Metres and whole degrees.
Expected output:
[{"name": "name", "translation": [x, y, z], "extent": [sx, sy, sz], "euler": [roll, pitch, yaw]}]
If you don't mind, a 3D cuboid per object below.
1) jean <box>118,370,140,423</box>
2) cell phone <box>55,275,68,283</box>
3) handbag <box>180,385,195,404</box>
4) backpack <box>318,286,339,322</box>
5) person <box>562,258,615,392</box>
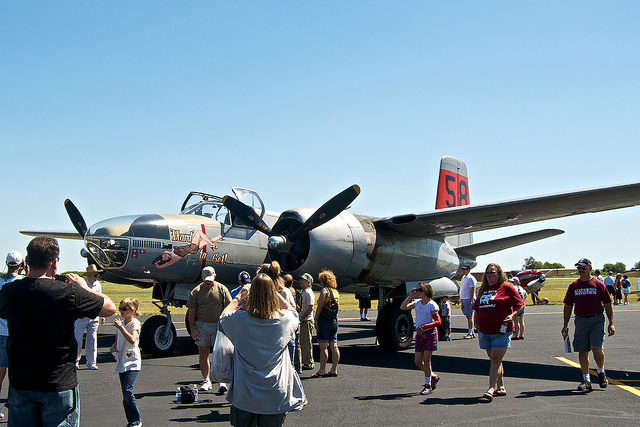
[{"name": "jean", "translation": [-2.830, 2.714, 8.850], "extent": [0.284, 0.786, 0.268], "euler": [1, -6, -16]}, {"name": "cell phone", "translation": [-3.323, 0.849, 7.660], "extent": [0.136, 0.084, 0.072], "euler": [2, -6, 8]}, {"name": "handbag", "translation": [-2.245, 3.075, 10.039], "extent": [0.192, 0.226, 0.252], "euler": [-1, -11, 18]}, {"name": "backpack", "translation": [0.184, 1.786, 12.088], "extent": [0.265, 0.422, 0.312], "euler": [20, -12, 20]}, {"name": "person", "translation": [4.853, 2.003, 10.813], "extent": [0.841, 2.328, 0.563], "euler": [-3, -6, 20]}]
